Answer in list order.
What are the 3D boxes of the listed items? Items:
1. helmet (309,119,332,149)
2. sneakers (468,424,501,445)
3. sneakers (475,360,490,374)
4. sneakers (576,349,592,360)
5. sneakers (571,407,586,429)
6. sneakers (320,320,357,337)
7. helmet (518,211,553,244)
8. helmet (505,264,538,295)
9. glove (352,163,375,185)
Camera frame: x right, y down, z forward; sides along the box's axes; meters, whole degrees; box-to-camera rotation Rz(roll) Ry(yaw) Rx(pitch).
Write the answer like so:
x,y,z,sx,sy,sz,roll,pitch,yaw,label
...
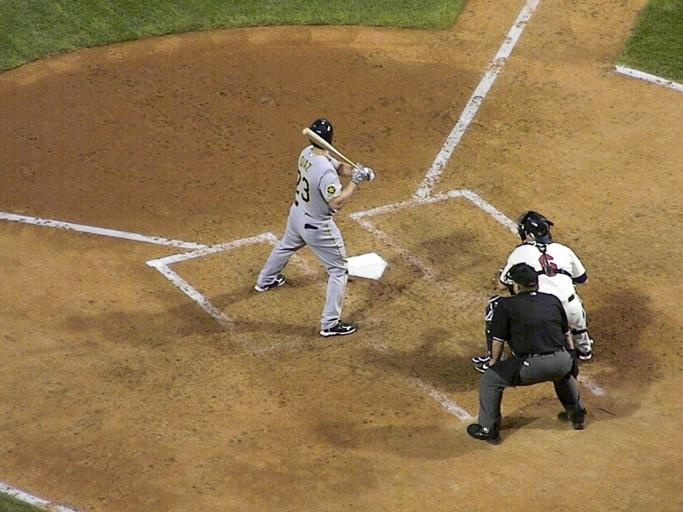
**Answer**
x,y,z,sx,sy,sz,roll,pitch,yaw,label
-0.304,-1.813,16.301,0.331,0.499,0.437,-3,75,-3,helmet
1.962,2.464,15.204,0.484,0.278,0.199,17,60,18,sneakers
2.082,1.644,16.185,0.308,0.106,0.115,13,24,41,sneakers
3.566,1.460,16.252,0.212,0.180,0.114,-1,95,-12,sneakers
3.242,2.237,15.152,0.161,0.258,0.386,-4,34,26,sneakers
-0.050,1.108,16.857,0.671,0.232,0.192,-3,34,-3,sneakers
2.854,-0.439,16.114,0.529,0.593,0.406,-16,110,-38,helmet
2.404,0.285,14.906,0.389,0.277,0.449,-7,38,-4,helmet
0.299,-1.195,16.299,0.464,0.192,0.263,-3,50,-1,glove
